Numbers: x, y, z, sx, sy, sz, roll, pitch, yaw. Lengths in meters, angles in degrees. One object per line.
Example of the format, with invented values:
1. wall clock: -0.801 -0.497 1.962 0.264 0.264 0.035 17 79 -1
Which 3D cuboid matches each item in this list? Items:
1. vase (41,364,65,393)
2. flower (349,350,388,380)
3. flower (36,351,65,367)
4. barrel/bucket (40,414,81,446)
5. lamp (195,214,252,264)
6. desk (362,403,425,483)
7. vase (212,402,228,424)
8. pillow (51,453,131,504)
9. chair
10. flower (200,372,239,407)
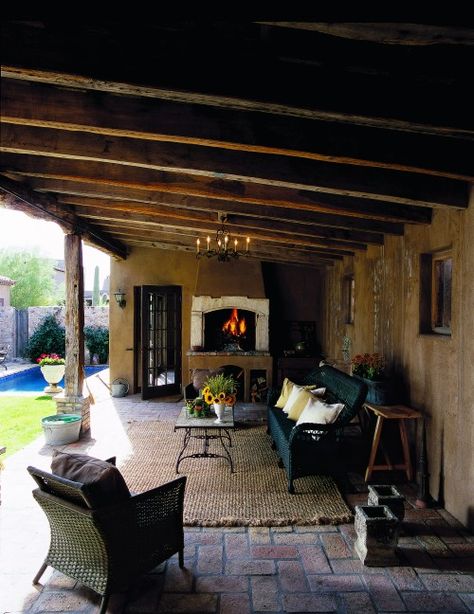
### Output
1. vase: -2.980 1.166 7.832 0.320 0.500 1.021 -1 1 -22
2. flower: 1.277 0.543 4.678 0.233 0.207 0.266 4 5 43
3. flower: -3.515 0.950 9.165 0.707 0.294 0.695 4 0 -30
4. barrel/bucket: -1.926 1.334 5.383 0.297 0.304 0.470 0 1 19
5. lamp: -0.162 -0.835 6.268 0.763 0.768 0.614 0 7 -4
6. desk: 1.421 1.199 4.297 0.396 0.668 0.730 1 -2 4
7. vase: -0.187 0.994 4.653 0.160 0.190 0.148 5 -5 -31
8. pillow: -0.781 0.872 2.520 0.405 0.211 0.301 0 1 40
9. chair: -0.653 1.137 2.762 0.856 0.761 0.843 0 -1 31
10. flower: -0.158 0.845 4.784 0.372 0.253 0.358 2 13 1
